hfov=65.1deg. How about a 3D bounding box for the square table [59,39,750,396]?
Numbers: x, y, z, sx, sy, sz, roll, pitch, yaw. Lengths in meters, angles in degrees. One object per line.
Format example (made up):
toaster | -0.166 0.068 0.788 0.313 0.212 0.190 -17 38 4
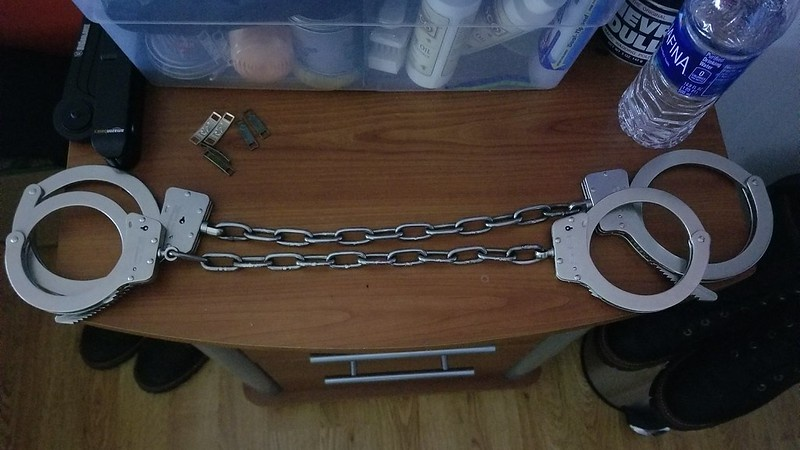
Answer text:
square table | 0.020 0.065 1.857 1.389 0.891 0.655 -3 81 -1
